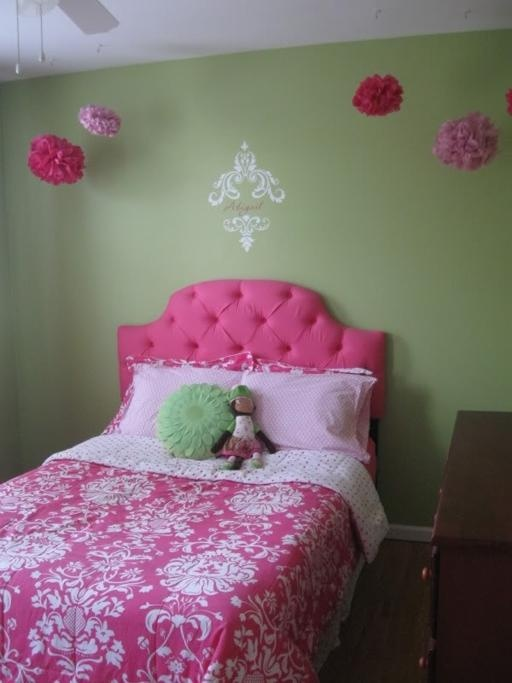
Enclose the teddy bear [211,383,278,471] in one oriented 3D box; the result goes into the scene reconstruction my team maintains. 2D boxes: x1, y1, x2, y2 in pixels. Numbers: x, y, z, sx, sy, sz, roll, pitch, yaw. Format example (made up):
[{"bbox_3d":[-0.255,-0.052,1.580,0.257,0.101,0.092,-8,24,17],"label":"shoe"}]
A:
[{"bbox_3d":[-0.054,0.373,2.335,0.262,0.122,0.387,0,59,-5],"label":"teddy bear"}]
